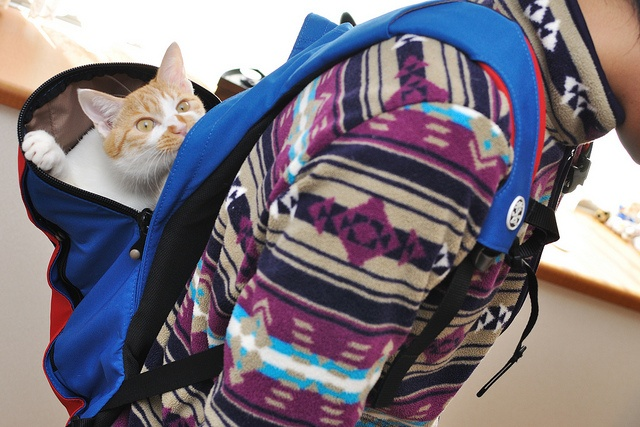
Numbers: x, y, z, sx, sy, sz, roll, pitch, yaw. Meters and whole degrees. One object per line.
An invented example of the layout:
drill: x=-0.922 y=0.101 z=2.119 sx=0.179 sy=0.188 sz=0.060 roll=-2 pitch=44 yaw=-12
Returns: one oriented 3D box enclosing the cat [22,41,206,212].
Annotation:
cat: x=-0.431 y=-0.146 z=1.579 sx=0.407 sy=0.321 sz=0.267 roll=-14 pitch=-51 yaw=10
